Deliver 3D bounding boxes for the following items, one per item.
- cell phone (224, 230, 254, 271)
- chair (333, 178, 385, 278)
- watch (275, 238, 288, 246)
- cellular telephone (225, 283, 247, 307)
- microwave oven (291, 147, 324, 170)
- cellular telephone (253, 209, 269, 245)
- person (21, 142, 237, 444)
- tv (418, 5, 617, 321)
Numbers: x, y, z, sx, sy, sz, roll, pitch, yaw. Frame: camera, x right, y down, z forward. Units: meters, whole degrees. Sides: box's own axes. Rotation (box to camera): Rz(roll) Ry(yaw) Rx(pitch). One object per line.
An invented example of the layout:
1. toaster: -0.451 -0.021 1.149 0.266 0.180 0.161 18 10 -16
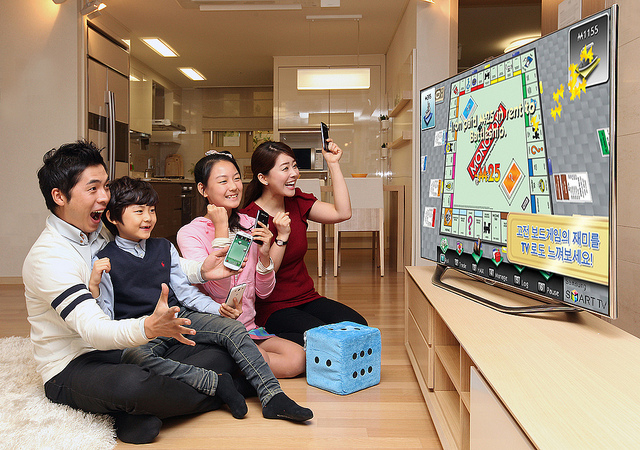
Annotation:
1. cell phone: -0.331 0.126 1.896 0.094 0.186 0.180 16 1 0
2. chair: 0.321 -0.014 4.776 0.624 1.101 0.558 6 3 42
3. watch: -0.210 0.094 2.187 0.036 0.040 0.037 -6 0 -14
4. cellular telephone: -0.392 0.335 1.922 0.089 0.107 0.052 -11 12 -42
5. microwave oven: -0.191 -1.098 6.844 0.461 0.372 0.622 -3 9 -4
6. cellular telephone: -0.304 0.013 2.092 0.081 0.168 0.151 -4 9 -9
7. person: -0.968 0.231 2.052 1.011 1.287 1.021 3 4 4
8. tv: 0.734 -0.241 1.640 0.130 0.956 0.946 -6 10 -23
